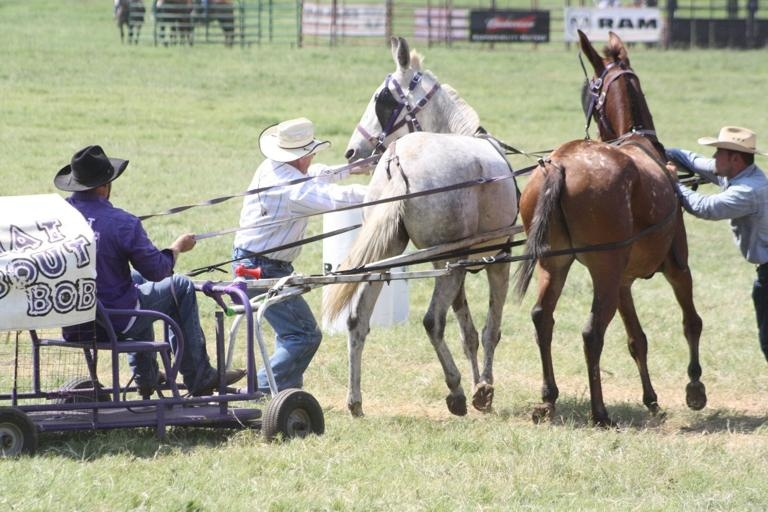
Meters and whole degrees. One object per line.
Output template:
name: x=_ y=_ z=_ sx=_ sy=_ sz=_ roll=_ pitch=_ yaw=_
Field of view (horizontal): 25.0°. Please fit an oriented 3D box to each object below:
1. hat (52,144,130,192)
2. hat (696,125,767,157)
hat: x=-5.276 y=-1.586 z=31.211 sx=1.066 sy=0.386 sz=0.938 roll=-28 pitch=38 yaw=-18
hat: x=6.618 y=-2.184 z=32.407 sx=0.876 sy=0.284 sz=0.744 roll=14 pitch=2 yaw=-7
